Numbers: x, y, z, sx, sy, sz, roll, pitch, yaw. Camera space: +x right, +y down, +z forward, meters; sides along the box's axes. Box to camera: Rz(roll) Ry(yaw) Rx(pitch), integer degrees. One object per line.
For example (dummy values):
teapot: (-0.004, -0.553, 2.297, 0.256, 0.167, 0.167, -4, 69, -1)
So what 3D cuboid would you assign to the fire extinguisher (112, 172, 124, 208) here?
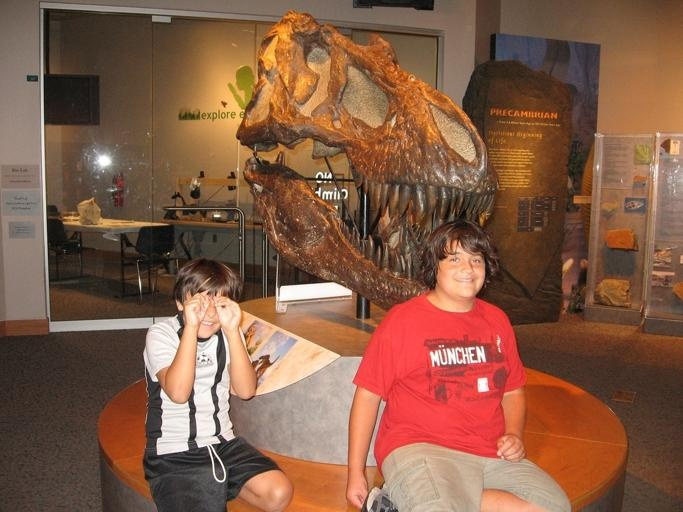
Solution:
fire extinguisher: (-2.593, -0.771, 6.119, 0.148, 0.394, 0.017, 0, 6, 0)

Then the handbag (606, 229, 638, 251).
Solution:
handbag: (3.454, -0.212, 6.470, 0.250, 0.217, 0.272, 0, -2, 15)

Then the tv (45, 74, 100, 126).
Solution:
tv: (-3.064, -1.787, 5.933, 0.504, 0.552, 0.054, 0, 6, -8)

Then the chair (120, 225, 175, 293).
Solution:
chair: (-2.288, 0.002, 6.255, 0.479, 0.821, 0.525, -12, -4, 5)

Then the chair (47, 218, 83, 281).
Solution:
chair: (-3.326, -0.103, 6.233, 0.361, 0.670, 0.414, -9, -4, 18)
